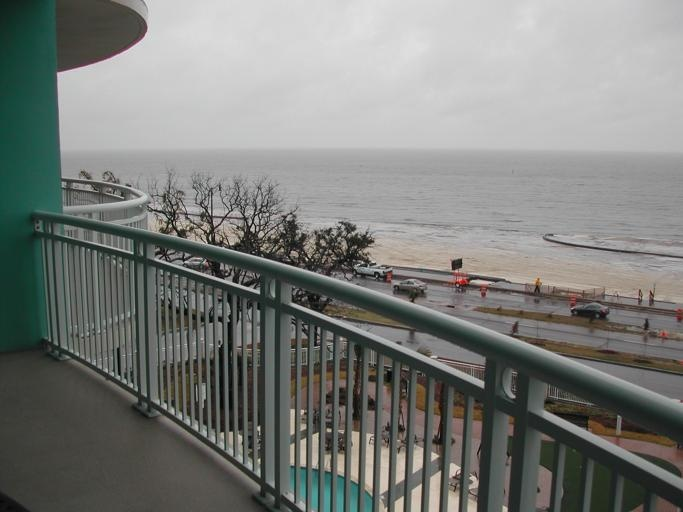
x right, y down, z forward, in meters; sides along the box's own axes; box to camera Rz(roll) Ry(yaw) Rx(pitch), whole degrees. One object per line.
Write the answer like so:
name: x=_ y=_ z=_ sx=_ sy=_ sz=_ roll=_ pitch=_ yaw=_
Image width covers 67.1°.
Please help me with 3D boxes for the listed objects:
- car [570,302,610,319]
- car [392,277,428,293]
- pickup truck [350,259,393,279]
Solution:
car: x=28.159 y=6.136 z=57.783 sx=4.614 sy=1.622 sz=2.412 roll=6 pitch=4 yaw=5
car: x=8.133 y=3.776 z=61.228 sx=3.480 sy=1.170 sz=5.318 roll=7 pitch=4 yaw=22
pickup truck: x=3.952 y=2.013 z=68.395 sx=3.838 sy=2.260 sz=4.359 roll=3 pitch=5 yaw=-36
